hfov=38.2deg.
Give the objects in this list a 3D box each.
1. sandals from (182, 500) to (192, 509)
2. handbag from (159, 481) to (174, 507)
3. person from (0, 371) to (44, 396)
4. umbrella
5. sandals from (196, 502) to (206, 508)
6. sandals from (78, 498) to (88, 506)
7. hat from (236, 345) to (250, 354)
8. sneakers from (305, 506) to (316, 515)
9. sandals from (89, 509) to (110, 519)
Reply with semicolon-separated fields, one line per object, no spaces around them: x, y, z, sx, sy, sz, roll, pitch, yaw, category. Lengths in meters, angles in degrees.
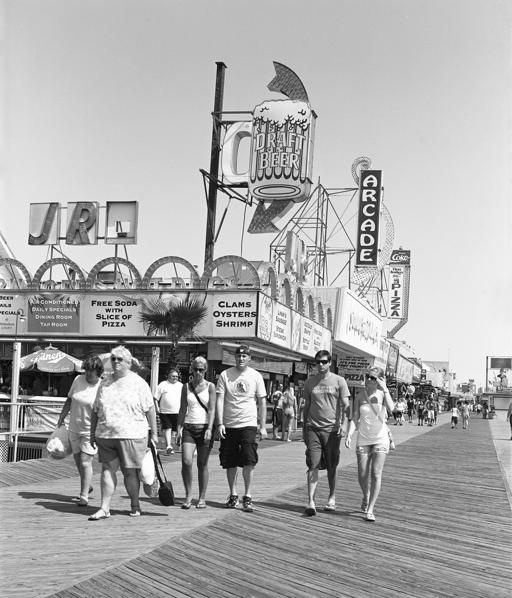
-0.732;2.211;7.923;0.073;0.072;0.226;-2;-15;1;sandals
-0.935;2.036;7.721;0.156;0.253;0.104;4;-7;-17;handbag
-7.448;2.496;23.575;1.199;1.375;0.679;1;-5;-7;person
-5.436;1.776;20.887;1.895;1.534;1.903;7;-11;-38;umbrella
-0.584;2.220;7.964;0.103;0.070;0.169;3;-8;-5;sandals
-1.850;2.177;7.943;0.115;0.087;0.288;4;-9;-14;sandals
-0.152;0.551;8.107;0.094;0.075;0.091;-2;-4;16;hat
0.579;2.213;7.685;0.111;0.089;0.197;2;-8;4;sneakers
-1.478;2.041;6.995;0.074;0.078;0.185;-4;-15;8;sandals
